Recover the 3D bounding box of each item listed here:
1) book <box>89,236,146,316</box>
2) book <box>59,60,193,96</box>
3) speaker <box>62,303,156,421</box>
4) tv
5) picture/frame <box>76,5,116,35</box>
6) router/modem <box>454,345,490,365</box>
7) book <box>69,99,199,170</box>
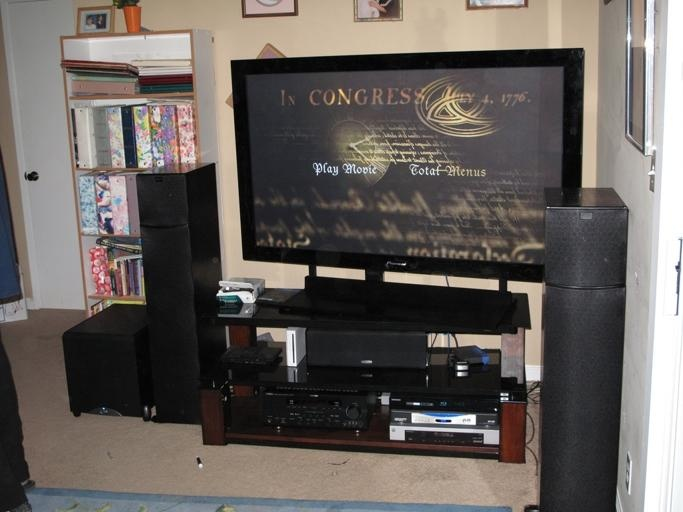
[{"bbox_3d":[-1.403,0.125,4.273,0.454,0.448,0.254,2,15,3],"label":"book"},{"bbox_3d":[-1.286,-1.091,4.132,0.807,0.224,0.103,0,8,5],"label":"book"},{"bbox_3d":[-1.314,0.604,4.131,0.448,0.528,0.768,-1,13,1],"label":"speaker"},{"bbox_3d":[0.284,-0.385,3.641,1.915,1.342,0.547,6,16,30],"label":"tv"},{"bbox_3d":[-1.524,-1.475,4.232,0.249,0.174,0.019,1,5,12],"label":"picture/frame"},{"bbox_3d":[0.696,0.528,3.604,0.115,0.030,0.113,-5,12,-29],"label":"router/modem"},{"bbox_3d":[-1.280,-0.734,4.172,0.813,0.386,0.155,2,9,18],"label":"book"}]
